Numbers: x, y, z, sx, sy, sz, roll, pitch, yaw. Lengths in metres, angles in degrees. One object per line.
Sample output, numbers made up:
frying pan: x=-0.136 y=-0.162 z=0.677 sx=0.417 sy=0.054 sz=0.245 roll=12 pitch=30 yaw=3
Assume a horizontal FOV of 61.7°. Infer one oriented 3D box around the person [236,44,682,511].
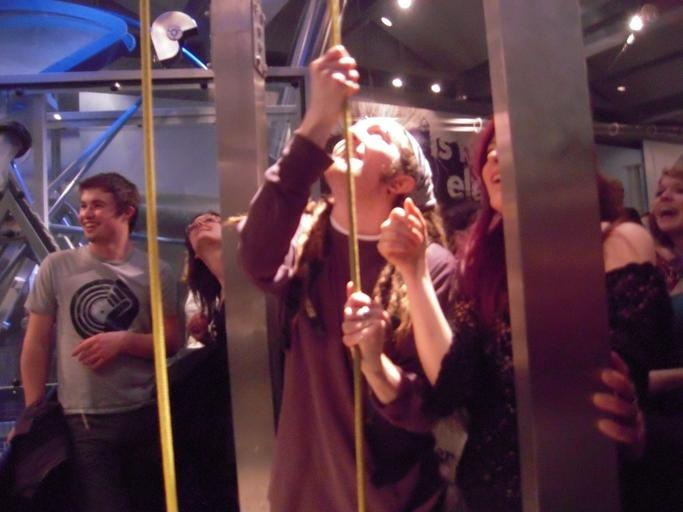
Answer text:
person: x=0.238 y=0.073 z=1.147 sx=0.857 sy=0.905 sz=0.315 roll=0 pitch=2 yaw=8
